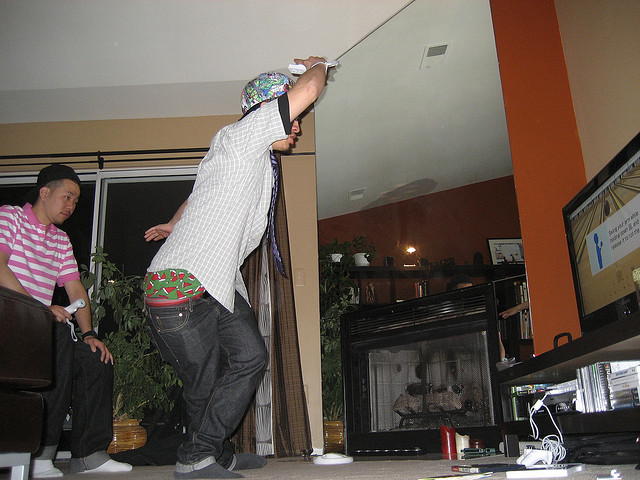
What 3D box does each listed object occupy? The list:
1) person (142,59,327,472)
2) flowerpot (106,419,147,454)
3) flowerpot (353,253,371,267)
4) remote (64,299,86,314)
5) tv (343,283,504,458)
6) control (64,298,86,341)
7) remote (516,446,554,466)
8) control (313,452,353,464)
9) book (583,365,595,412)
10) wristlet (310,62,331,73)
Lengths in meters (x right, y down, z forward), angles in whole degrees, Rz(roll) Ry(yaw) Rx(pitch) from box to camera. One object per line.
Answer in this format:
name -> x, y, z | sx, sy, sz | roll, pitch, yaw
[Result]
person -> -0.352, 0.179, 2.082 | 0.766, 1.489, 0.387 | -9, -17, 21
flowerpot -> -1.314, 1.318, 3.303 | 0.233, 0.242, 0.228 | 13, -7, -7
flowerpot -> 0.366, 0.179, 4.242 | 0.116, 0.099, 0.095 | -7, -10, 26
remote -> -1.307, 0.360, 2.605 | 0.095, 0.110, 0.279 | 5, -19, -25
tv -> 0.800, 1.029, 3.655 | 0.947, 1.033, 0.358 | -13, -24, 27
control -> -1.285, 0.391, 2.544 | 0.061, 0.258, 0.066 | -20, -27, 8
remote -> 0.808, 0.815, 1.824 | 0.086, 0.037, 0.095 | 5, -25, -7
control -> 0.068, 1.149, 2.551 | 0.160, 0.051, 0.183 | -15, -21, 33
book -> 1.150, 0.635, 2.080 | 0.034, 0.180, 0.037 | -15, -20, 36
wristlet -> 0.006, -0.806, 2.278 | 0.101, 0.041, 0.042 | 10, 18, 38
